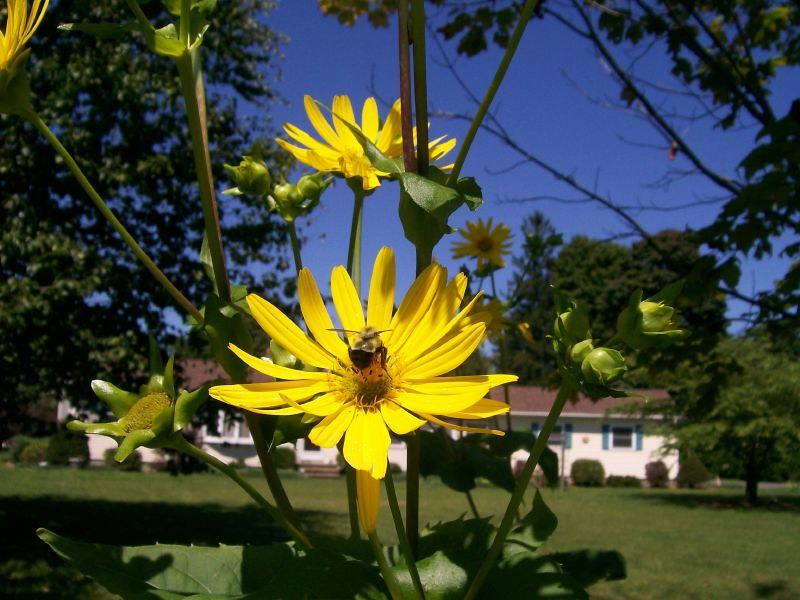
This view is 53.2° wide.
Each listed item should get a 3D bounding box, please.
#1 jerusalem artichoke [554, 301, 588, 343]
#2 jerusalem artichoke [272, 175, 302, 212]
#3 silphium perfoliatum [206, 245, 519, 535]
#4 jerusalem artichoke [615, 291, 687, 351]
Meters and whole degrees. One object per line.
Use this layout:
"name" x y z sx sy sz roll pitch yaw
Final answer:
"jerusalem artichoke" 0.365 0.052 1.696 0.073 0.101 0.074 7 -8 -31
"jerusalem artichoke" -0.275 -0.251 1.930 0.071 0.085 0.057 1 -10 -11
"silphium perfoliatum" -0.071 0.179 1.689 0.616 0.597 0.319 -2 -10 2
"jerusalem artichoke" 0.516 0.052 1.646 0.122 0.074 0.122 38 -6 31
